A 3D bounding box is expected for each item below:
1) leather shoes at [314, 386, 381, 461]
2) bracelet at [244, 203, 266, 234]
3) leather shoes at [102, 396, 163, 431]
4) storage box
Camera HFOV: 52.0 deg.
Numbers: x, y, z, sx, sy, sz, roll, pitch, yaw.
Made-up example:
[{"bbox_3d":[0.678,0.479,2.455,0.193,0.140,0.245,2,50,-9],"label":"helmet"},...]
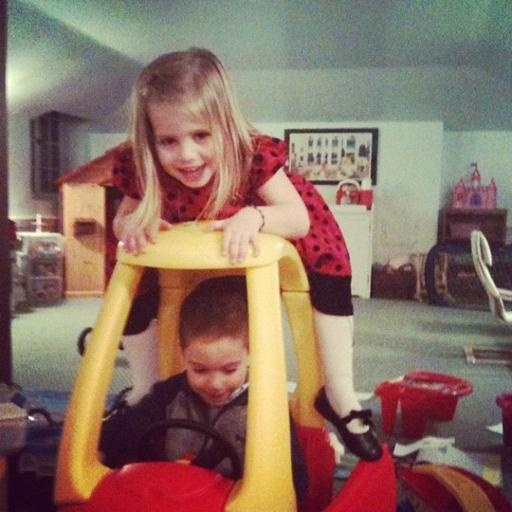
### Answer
[{"bbox_3d":[0.149,0.271,0.909,0.149,0.065,0.055,50,12,19],"label":"leather shoes"},{"bbox_3d":[0.000,-0.059,0.782,0.009,0.034,0.030,-15,-12,2],"label":"bracelet"},{"bbox_3d":[-0.205,0.272,0.941,0.126,0.048,0.065,1,0,5],"label":"leather shoes"},{"bbox_3d":[-0.423,0.030,1.026,0.102,0.131,0.100,1,0,1],"label":"storage box"}]
